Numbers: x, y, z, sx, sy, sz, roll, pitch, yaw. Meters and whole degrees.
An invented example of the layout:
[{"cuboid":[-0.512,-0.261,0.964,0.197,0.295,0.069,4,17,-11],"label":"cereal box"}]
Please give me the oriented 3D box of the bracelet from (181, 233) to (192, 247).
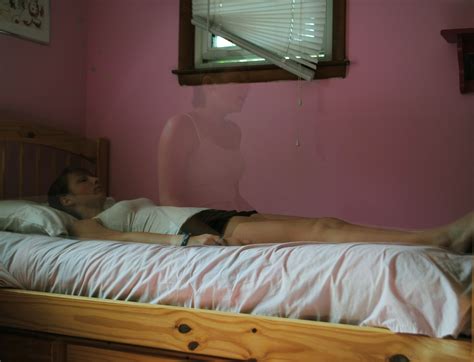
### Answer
[{"cuboid":[-0.190,0.217,1.498,0.027,0.042,0.015,9,-19,26],"label":"bracelet"}]
